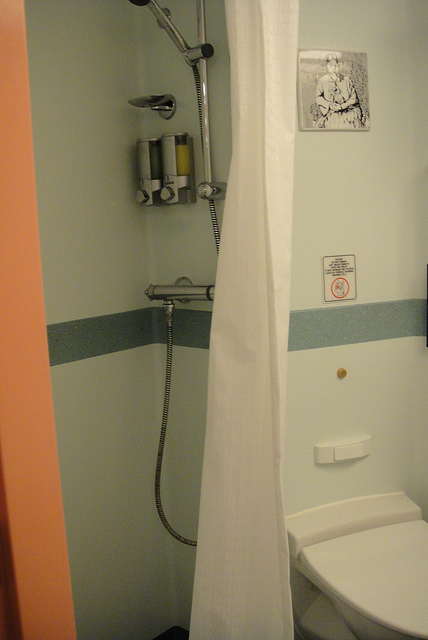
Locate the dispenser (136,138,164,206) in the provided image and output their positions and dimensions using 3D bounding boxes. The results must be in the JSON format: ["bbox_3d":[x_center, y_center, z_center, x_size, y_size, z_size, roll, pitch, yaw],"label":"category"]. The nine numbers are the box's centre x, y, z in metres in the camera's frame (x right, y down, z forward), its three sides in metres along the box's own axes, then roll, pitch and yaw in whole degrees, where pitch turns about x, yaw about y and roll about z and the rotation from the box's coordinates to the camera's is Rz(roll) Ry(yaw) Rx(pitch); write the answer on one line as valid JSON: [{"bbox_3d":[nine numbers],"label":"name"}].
[{"bbox_3d":[-0.176,-0.397,1.455,0.072,0.177,0.102,-2,13,-7],"label":"dispenser"}]

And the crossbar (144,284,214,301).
[{"bbox_3d":[-0.095,-0.069,1.391,0.061,0.061,0.254,15,-7,-42],"label":"crossbar"}]
